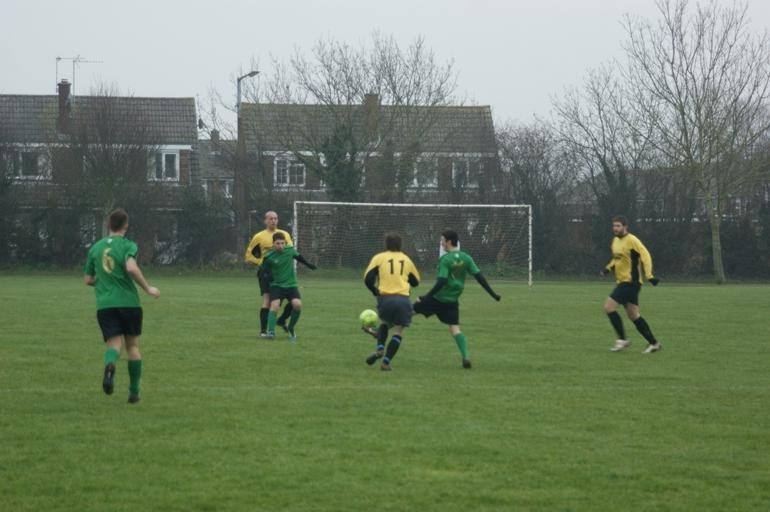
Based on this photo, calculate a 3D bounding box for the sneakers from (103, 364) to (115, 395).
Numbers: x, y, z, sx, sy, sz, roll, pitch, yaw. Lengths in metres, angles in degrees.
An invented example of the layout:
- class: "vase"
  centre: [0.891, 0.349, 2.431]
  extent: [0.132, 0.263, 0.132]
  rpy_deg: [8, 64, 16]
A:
- class: "sneakers"
  centre: [-5.245, 2.306, 21.094]
  extent: [0.216, 0.611, 0.270]
  rpy_deg: [2, -3, -18]

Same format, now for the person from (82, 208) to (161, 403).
- class: "person"
  centre: [-5.070, 0.911, 21.369]
  extent: [1.077, 3.643, 1.117]
  rpy_deg: [-3, 10, -18]

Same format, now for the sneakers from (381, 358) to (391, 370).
- class: "sneakers"
  centre: [0.039, 2.231, 23.138]
  extent: [0.261, 0.264, 0.129]
  rpy_deg: [-2, 2, -13]

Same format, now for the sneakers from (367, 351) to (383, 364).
- class: "sneakers"
  centre: [-0.233, 2.081, 23.215]
  extent: [0.218, 0.178, 0.448]
  rpy_deg: [-23, -15, -39]

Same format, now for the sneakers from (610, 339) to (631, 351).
- class: "sneakers"
  centre: [5.366, 1.962, 25.052]
  extent: [0.181, 0.215, 0.504]
  rpy_deg: [-23, 2, 42]

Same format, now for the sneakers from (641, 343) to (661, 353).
- class: "sneakers"
  centre: [6.018, 2.018, 24.821]
  extent: [0.468, 0.192, 0.170]
  rpy_deg: [-14, 11, -24]

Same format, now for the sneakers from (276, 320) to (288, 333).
- class: "sneakers"
  centre: [-2.361, 1.616, 25.983]
  extent: [0.173, 0.211, 0.518]
  rpy_deg: [2, -20, -3]

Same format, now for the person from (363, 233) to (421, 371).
- class: "person"
  centre: [0.156, 0.904, 23.310]
  extent: [1.103, 2.767, 0.879]
  rpy_deg: [-1, 9, -4]

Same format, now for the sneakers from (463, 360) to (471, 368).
- class: "sneakers"
  centre: [1.760, 2.239, 23.408]
  extent: [0.171, 0.151, 0.143]
  rpy_deg: [-1, 36, -8]

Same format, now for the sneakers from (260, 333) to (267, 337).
- class: "sneakers"
  centre: [-2.784, 1.784, 25.606]
  extent: [0.123, 0.070, 0.088]
  rpy_deg: [-3, -3, 5]

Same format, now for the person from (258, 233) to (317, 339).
- class: "person"
  centre: [-2.285, 0.606, 25.556]
  extent: [1.104, 2.450, 0.871]
  rpy_deg: [0, 9, 2]

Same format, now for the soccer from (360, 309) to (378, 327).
- class: "soccer"
  centre: [-0.383, 1.471, 25.852]
  extent: [0.400, 0.405, 0.401]
  rpy_deg: [-11, 27, 14]
